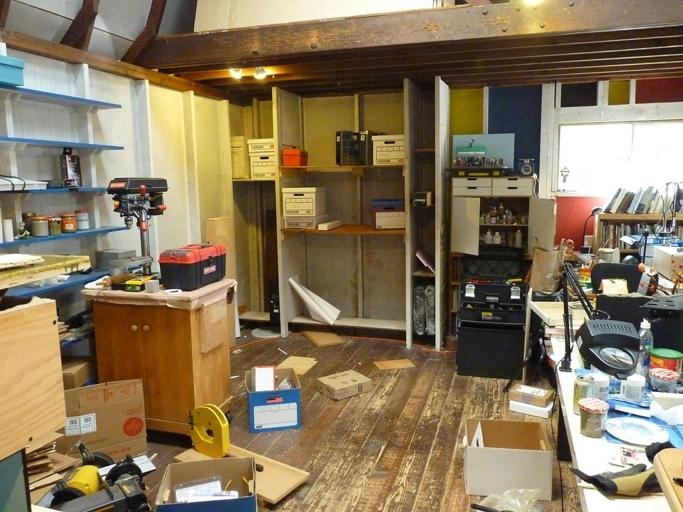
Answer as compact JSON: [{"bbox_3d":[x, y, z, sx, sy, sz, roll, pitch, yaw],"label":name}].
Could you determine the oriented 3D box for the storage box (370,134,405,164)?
[{"bbox_3d":[0.510,-1.165,5.807,0.364,0.234,0.345,0,2,10],"label":"storage box"}]

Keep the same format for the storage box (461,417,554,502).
[{"bbox_3d":[1.075,1.301,3.411,0.541,0.306,0.535,0,-1,13],"label":"storage box"}]

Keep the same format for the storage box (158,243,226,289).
[{"bbox_3d":[-1.203,-0.033,4.176,0.359,0.303,0.562,2,6,12],"label":"storage box"}]

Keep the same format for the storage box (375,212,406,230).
[{"bbox_3d":[0.534,-0.368,6.002,0.298,0.150,0.224,0,2,5],"label":"storage box"}]

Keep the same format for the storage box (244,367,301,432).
[{"bbox_3d":[-0.572,1.154,4.392,0.445,0.454,0.384,-4,10,-9],"label":"storage box"}]

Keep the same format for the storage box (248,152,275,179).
[{"bbox_3d":[-0.936,-1.064,6.181,0.380,0.310,0.194,1,2,11],"label":"storage box"}]

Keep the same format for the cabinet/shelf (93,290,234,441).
[{"bbox_3d":[-1.373,0.783,4.108,1.006,1.101,0.521,-6,11,-21],"label":"cabinet/shelf"}]

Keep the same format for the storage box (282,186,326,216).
[{"bbox_3d":[-0.421,-0.632,6.209,0.411,0.219,0.383,1,4,11],"label":"storage box"}]

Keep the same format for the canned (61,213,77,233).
[{"bbox_3d":[-2.254,-0.272,4.335,0.152,0.147,0.143,0,-3,-9],"label":"canned"}]

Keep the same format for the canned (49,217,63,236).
[{"bbox_3d":[-2.300,-0.243,4.229,0.137,0.120,0.128,0,-2,-9],"label":"canned"}]

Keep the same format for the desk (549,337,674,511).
[{"bbox_3d":[1.394,0.835,2.694,0.370,0.255,1.173,0,14,13],"label":"desk"}]

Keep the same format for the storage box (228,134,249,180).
[{"bbox_3d":[-1.228,-1.159,6.260,0.196,0.486,0.094,0,11,15],"label":"storage box"}]

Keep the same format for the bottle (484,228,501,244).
[{"bbox_3d":[1.749,-0.218,6.123,0.232,0.150,0.122,1,4,12],"label":"bottle"}]
